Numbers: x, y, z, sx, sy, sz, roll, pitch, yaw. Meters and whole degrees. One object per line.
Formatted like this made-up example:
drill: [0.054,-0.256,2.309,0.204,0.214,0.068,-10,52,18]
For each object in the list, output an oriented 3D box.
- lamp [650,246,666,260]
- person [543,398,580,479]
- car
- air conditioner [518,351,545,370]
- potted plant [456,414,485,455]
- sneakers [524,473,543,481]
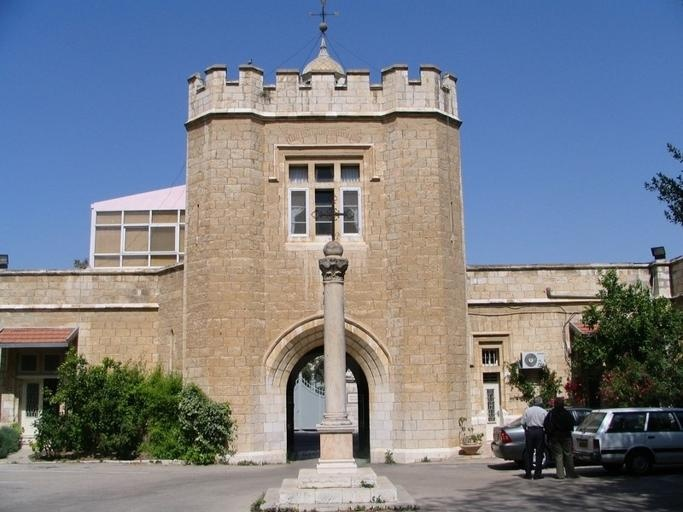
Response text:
lamp: [10.766,-0.118,28.241,0.382,0.419,0.376,-3,4,18]
person: [5.915,4.901,22.519,0.763,2.121,0.918,-5,-14,16]
car: [5.749,5.368,24.709,3.104,1.127,1.510,-2,-4,-9]
air conditioner: [7.144,4.113,31.318,0.961,0.739,0.562,0,-12,0]
potted plant: [4.438,6.148,28.322,1.053,1.554,1.056,5,-15,-14]
sneakers: [5.217,5.950,22.551,0.535,0.238,0.181,0,-4,-33]
